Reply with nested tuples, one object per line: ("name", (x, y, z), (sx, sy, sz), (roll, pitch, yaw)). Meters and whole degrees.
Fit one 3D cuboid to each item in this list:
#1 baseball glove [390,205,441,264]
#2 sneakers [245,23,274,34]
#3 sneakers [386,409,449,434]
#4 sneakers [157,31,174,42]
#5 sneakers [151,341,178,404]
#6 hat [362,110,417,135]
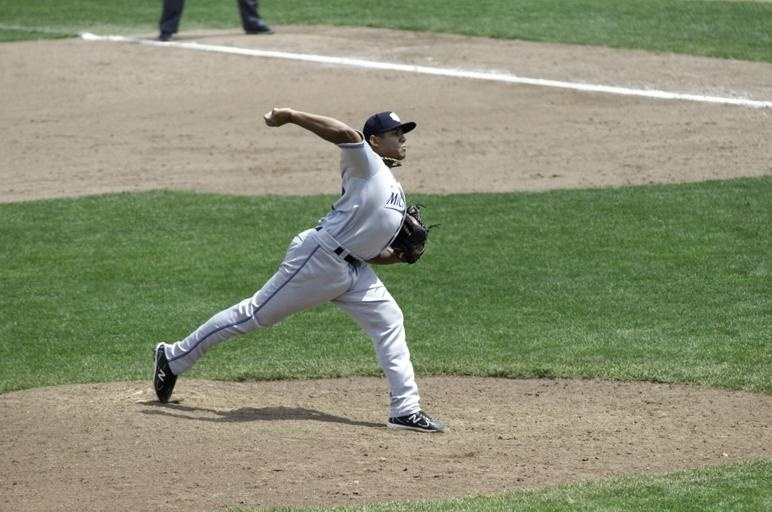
("baseball glove", (0.302, -0.267, 16.455), (0.329, 0.610, 0.497), (-9, -30, 7))
("sneakers", (-1.725, -3.112, 21.173), (0.395, 0.161, 0.128), (-4, 14, -6))
("sneakers", (0.339, 1.789, 16.398), (0.630, 0.224, 0.214), (2, -2, 3))
("sneakers", (-2.816, -2.804, 19.796), (0.204, 0.176, 0.094), (0, 20, -1))
("sneakers", (-2.389, 1.277, 16.493), (0.290, 0.628, 0.228), (-4, -1, 33))
("hat", (0.034, -1.382, 16.389), (0.468, 0.212, 0.265), (-18, 5, 7))
